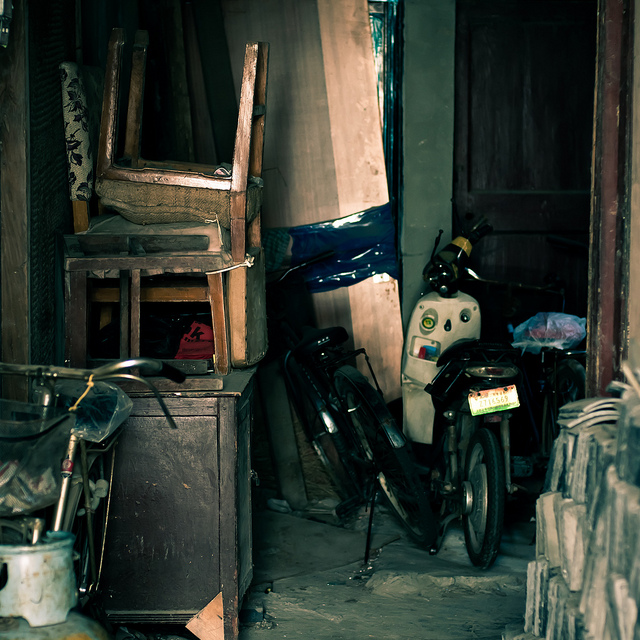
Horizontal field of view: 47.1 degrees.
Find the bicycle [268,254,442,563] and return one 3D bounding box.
[{"bbox_3d":[0.193,0.381,4.183,0.746,1.035,1.636,-24,23,-1],"label":"bicycle"}]

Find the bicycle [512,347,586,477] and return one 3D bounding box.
[{"bbox_3d":[1.310,0.489,4.181,0.397,0.888,0.420,5,15,9],"label":"bicycle"}]

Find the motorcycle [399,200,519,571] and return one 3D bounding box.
[{"bbox_3d":[0.769,0.286,3.953,0.606,1.661,1.467,0,7,1],"label":"motorcycle"}]

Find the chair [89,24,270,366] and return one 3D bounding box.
[{"bbox_3d":[-0.658,-0.563,3.279,0.968,1.461,0.855,1,7,12],"label":"chair"}]
